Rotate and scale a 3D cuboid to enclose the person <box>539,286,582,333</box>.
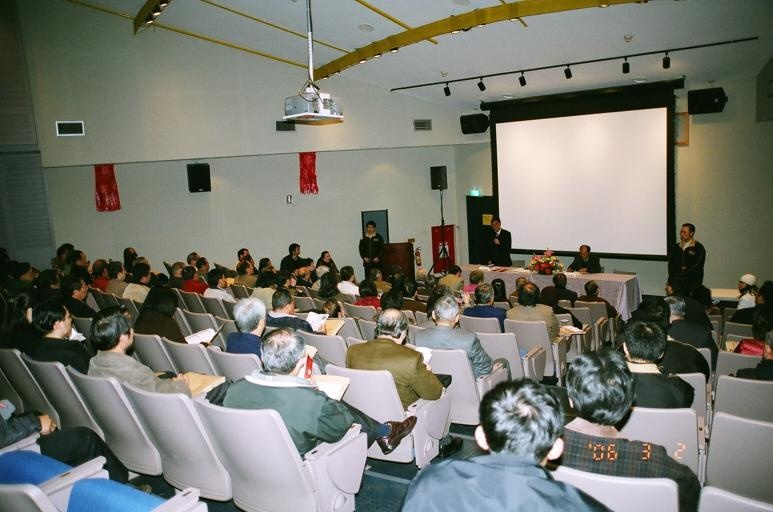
[{"bbox_3d":[2.596,0.836,8.316,0.493,1.076,0.484,7,1,43],"label":"person"}]

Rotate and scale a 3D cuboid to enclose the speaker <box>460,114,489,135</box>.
[{"bbox_3d":[2.103,-3.177,13.114,0.707,0.451,0.422,1,7,12],"label":"speaker"}]

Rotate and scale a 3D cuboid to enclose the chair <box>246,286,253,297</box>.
[{"bbox_3d":[-2.070,0.542,8.266,0.100,0.135,0.138,-2,-16,-7],"label":"chair"}]

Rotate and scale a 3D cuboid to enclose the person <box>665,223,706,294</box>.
[{"bbox_3d":[5.293,0.235,9.885,0.513,1.738,0.527,12,42,32],"label":"person"}]

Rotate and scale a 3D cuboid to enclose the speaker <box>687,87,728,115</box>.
[{"bbox_3d":[5.915,-2.892,10.175,0.613,0.447,0.296,3,7,28],"label":"speaker"}]

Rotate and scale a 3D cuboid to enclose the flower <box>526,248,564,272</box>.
[{"bbox_3d":[2.948,0.098,10.365,0.482,0.364,0.501,0,0,23],"label":"flower"}]

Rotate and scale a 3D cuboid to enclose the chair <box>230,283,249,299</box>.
[{"bbox_3d":[-2.267,0.549,8.470,0.159,0.247,0.177,11,17,28],"label":"chair"}]

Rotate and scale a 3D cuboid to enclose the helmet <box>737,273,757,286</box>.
[{"bbox_3d":[6.135,0.394,9.333,0.284,0.200,0.206,7,4,23],"label":"helmet"}]

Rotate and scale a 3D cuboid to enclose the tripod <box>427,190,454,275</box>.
[{"bbox_3d":[1.482,-0.616,14.669,0.635,2.262,1.455,0,6,8],"label":"tripod"}]

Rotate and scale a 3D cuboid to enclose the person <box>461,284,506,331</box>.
[{"bbox_3d":[1.210,0.577,6.812,0.464,0.805,0.559,2,10,26],"label":"person"}]

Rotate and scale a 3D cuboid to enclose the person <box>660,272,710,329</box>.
[{"bbox_3d":[4.151,0.609,7.610,0.937,0.335,0.301,20,1,-44],"label":"person"}]

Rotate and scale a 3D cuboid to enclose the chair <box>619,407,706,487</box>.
[{"bbox_3d":[2.093,1.372,4.323,0.502,0.691,0.548,1,12,24],"label":"chair"}]

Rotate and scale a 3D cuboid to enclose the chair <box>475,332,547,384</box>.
[{"bbox_3d":[1.395,1.044,6.130,0.658,0.653,0.568,0,14,33],"label":"chair"}]

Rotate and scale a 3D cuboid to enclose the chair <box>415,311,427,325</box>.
[{"bbox_3d":[0.420,0.768,6.780,0.144,0.184,0.143,2,2,2],"label":"chair"}]

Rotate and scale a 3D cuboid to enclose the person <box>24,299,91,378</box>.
[{"bbox_3d":[-3.163,0.774,5.264,0.687,0.680,0.395,8,22,34],"label":"person"}]

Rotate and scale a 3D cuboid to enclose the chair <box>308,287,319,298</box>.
[{"bbox_3d":[-1.092,0.523,8.250,0.146,0.212,0.151,14,18,42],"label":"chair"}]

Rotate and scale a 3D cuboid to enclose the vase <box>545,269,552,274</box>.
[{"bbox_3d":[2.994,0.295,10.188,0.091,0.097,0.053,2,32,22],"label":"vase"}]

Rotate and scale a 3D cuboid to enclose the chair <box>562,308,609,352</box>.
[{"bbox_3d":[2.769,0.976,7.424,0.504,0.729,0.645,2,6,32],"label":"chair"}]

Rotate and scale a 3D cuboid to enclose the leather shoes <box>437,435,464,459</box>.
[{"bbox_3d":[0.607,1.830,5.439,0.313,0.225,0.160,-12,16,-41],"label":"leather shoes"}]

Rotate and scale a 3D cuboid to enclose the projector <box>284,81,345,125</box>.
[{"bbox_3d":[-0.927,-1.872,7.105,0.574,0.446,0.588,-2,-4,41],"label":"projector"}]

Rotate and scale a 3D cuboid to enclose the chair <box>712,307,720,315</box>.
[{"bbox_3d":[5.162,0.868,8.631,0.121,0.120,0.216,-1,0,21],"label":"chair"}]

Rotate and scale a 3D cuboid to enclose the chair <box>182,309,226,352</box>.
[{"bbox_3d":[-2.151,0.882,6.496,0.291,0.540,0.388,7,14,26],"label":"chair"}]

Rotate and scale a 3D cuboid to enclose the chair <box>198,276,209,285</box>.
[{"bbox_3d":[-2.945,0.391,8.785,0.155,0.220,0.154,1,-2,-26],"label":"chair"}]

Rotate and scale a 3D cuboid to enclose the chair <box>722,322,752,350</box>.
[{"bbox_3d":[3.975,0.914,6.237,0.224,0.311,0.222,10,16,39],"label":"chair"}]

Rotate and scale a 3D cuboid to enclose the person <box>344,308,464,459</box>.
[{"bbox_3d":[0.063,1.234,5.413,0.968,1.612,0.983,5,18,6],"label":"person"}]

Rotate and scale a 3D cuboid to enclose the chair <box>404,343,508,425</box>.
[{"bbox_3d":[0.691,1.301,5.426,0.569,0.751,0.850,1,2,25],"label":"chair"}]

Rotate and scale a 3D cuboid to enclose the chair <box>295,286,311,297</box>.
[{"bbox_3d":[-1.311,0.553,8.481,0.171,0.240,0.164,-6,13,-40],"label":"chair"}]

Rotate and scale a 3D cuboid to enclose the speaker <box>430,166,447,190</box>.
[{"bbox_3d":[1.358,-2.065,14.418,0.473,0.626,0.583,-2,-8,3],"label":"speaker"}]

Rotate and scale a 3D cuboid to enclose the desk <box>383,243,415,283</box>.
[{"bbox_3d":[0.346,0.169,12.649,0.791,0.937,0.803,-2,6,-12],"label":"desk"}]

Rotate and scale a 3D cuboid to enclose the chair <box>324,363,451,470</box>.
[{"bbox_3d":[0.100,1.338,4.946,1.074,1.048,0.895,2,6,32],"label":"chair"}]
